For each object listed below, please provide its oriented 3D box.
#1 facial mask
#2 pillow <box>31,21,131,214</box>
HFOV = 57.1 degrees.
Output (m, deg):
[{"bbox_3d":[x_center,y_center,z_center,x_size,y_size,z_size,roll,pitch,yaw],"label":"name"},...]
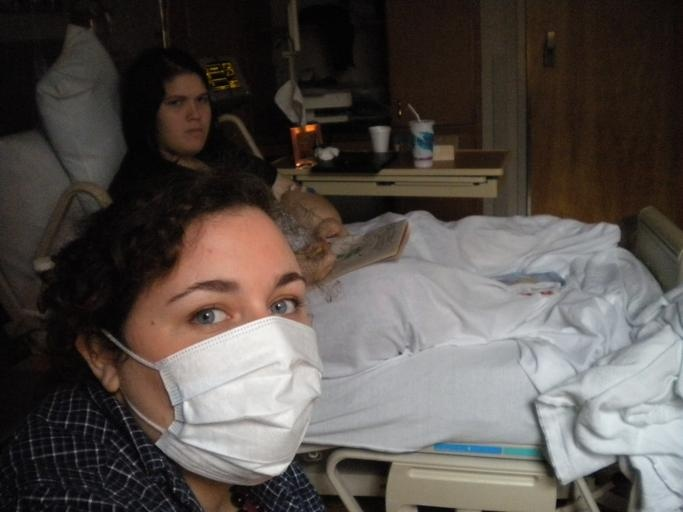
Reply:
[{"bbox_3d":[-0.269,0.237,1.289,0.350,0.288,0.315,12,11,34],"label":"facial mask"},{"bbox_3d":[-0.809,-0.438,2.009,0.202,0.565,0.270,-8,19,-26],"label":"pillow"}]
